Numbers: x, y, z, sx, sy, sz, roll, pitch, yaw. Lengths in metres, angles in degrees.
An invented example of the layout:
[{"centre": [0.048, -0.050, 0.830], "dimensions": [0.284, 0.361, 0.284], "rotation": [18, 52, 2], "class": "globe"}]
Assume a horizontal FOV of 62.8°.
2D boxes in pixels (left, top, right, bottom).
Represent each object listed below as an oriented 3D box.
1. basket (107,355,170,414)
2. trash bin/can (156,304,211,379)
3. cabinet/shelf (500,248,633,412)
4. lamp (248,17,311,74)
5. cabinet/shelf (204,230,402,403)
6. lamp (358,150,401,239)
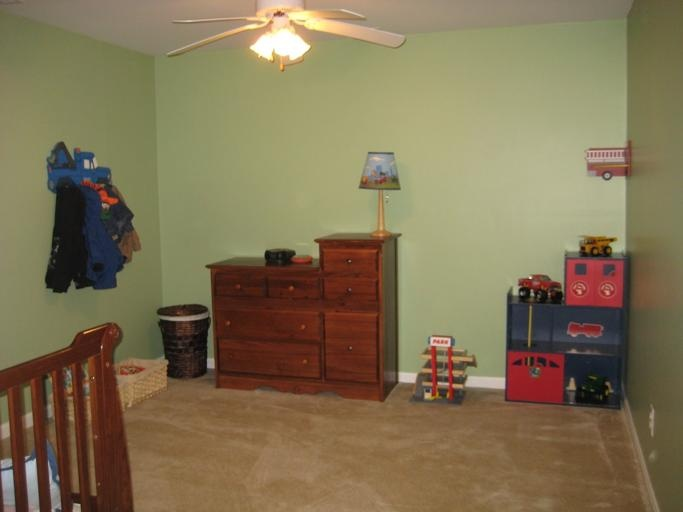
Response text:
[{"centre": [-1.786, 1.062, 4.885], "dimensions": [0.431, 0.293, 0.514], "rotation": [2, 6, 25], "class": "basket"}, {"centre": [-1.450, 0.784, 5.509], "dimensions": [0.602, 0.688, 0.581], "rotation": [-5, 10, -40], "class": "trash bin/can"}, {"centre": [1.869, 0.642, 4.560], "dimensions": [1.197, 1.733, 0.542], "rotation": [1, 3, 15], "class": "cabinet/shelf"}, {"centre": [-0.348, -1.204, 3.196], "dimensions": [0.275, 0.273, 0.208], "rotation": [-10, 16, -31], "class": "lamp"}, {"centre": [-0.360, 0.518, 5.033], "dimensions": [1.530, 1.376, 0.616], "rotation": [2, 13, 16], "class": "cabinet/shelf"}, {"centre": [0.337, -0.547, 4.839], "dimensions": [0.344, 0.676, 0.474], "rotation": [0, 14, 6], "class": "lamp"}]
